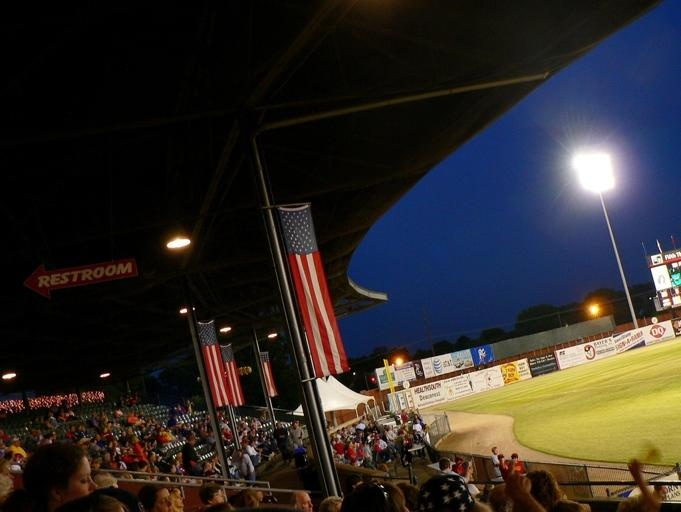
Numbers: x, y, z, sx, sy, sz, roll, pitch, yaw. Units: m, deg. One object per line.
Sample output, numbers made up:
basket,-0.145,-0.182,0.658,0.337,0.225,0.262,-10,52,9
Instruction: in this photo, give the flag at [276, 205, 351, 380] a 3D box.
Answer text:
flag,-0.570,0.603,11.347,0.782,3.635,0.564,-11,-10,-7
